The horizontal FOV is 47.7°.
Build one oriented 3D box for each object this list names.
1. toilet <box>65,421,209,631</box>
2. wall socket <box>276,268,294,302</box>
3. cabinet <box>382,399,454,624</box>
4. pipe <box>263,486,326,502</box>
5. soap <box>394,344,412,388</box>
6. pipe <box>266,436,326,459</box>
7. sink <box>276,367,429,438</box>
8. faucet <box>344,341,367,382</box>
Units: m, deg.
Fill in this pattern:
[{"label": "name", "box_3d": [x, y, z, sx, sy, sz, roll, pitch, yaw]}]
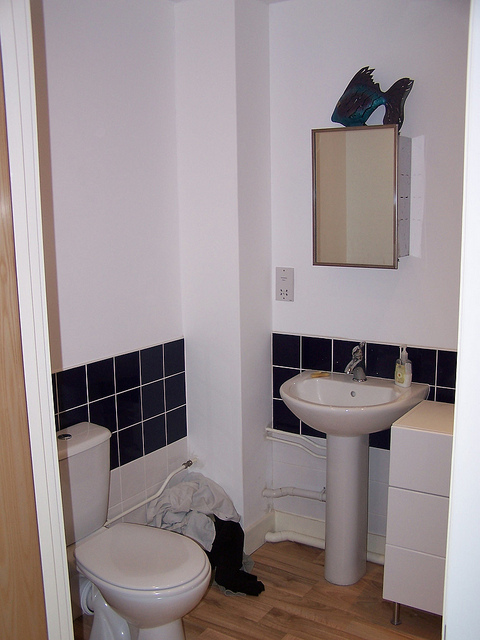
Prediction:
[{"label": "toilet", "box_3d": [-0.371, 0.761, 1.889, 0.584, 0.674, 0.351, 5, 10, 34]}, {"label": "wall socket", "box_3d": [0.217, -0.171, 2.593, 0.108, 0.246, 0.018, 6, 13, 31]}, {"label": "cabinet", "box_3d": [0.684, 0.770, 2.089, 0.224, 0.817, 0.287, 3, 9, 24]}, {"label": "pipe", "box_3d": [0.259, 0.865, 2.680, 0.283, 0.072, 0.079, 1, 9, 17]}, {"label": "soap", "box_3d": [0.681, 0.193, 2.256, 0.063, 0.165, 0.072, 1, 9, 14]}, {"label": "pipe", "box_3d": [0.286, 0.624, 2.663, 0.245, 0.022, 0.051, 24, -11, 5]}, {"label": "sink", "box_3d": [0.439, 0.389, 2.316, 0.597, 0.276, 0.566, 3, 7, 40]}, {"label": "faucet", "box_3d": [0.516, 0.183, 2.387, 0.089, 0.159, 0.116, 1, 9, 16]}]
